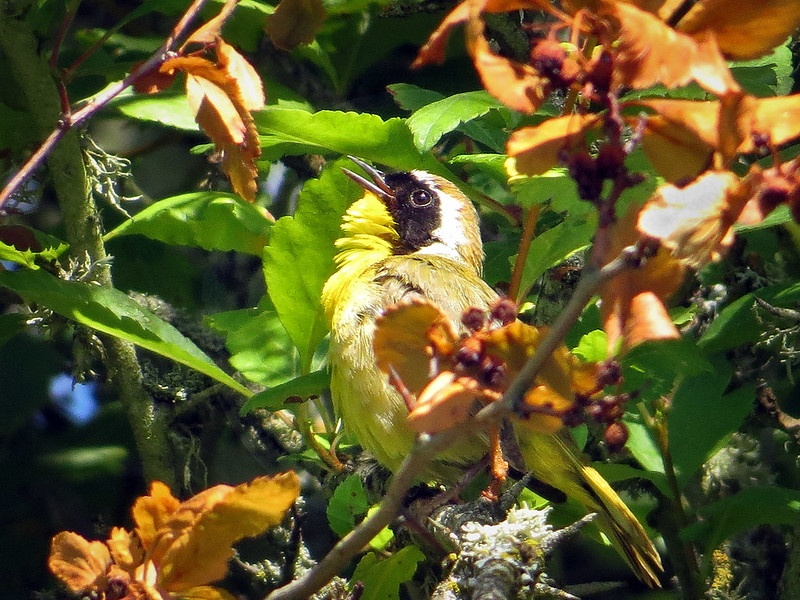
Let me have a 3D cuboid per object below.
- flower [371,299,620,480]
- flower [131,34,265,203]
[{"bbox_3d":[0.140,0.121,2.453,0.305,0.106,0.304,25,7,19],"label":"flower"},{"bbox_3d":[-0.390,-0.365,2.841,0.202,0.317,0.157,-1,16,-8],"label":"flower"}]
